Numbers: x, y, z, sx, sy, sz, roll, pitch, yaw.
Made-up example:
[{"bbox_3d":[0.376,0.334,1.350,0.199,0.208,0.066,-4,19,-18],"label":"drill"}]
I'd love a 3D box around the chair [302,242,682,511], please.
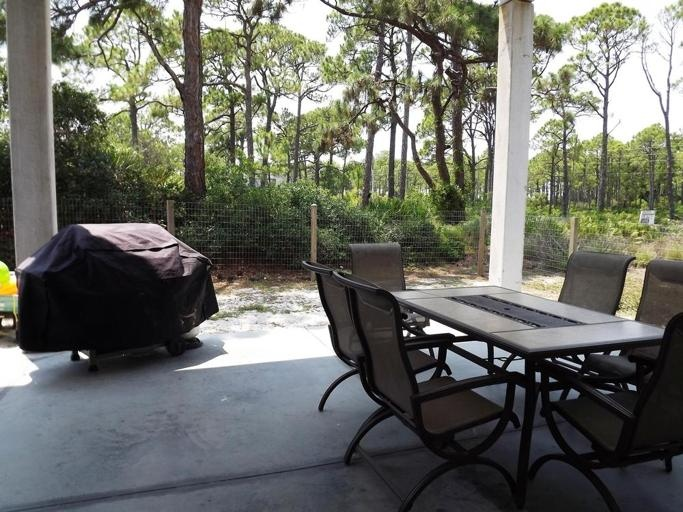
[{"bbox_3d":[1.184,0.667,4.462,2.765,1.371,2.214,-1,8,1],"label":"chair"}]
